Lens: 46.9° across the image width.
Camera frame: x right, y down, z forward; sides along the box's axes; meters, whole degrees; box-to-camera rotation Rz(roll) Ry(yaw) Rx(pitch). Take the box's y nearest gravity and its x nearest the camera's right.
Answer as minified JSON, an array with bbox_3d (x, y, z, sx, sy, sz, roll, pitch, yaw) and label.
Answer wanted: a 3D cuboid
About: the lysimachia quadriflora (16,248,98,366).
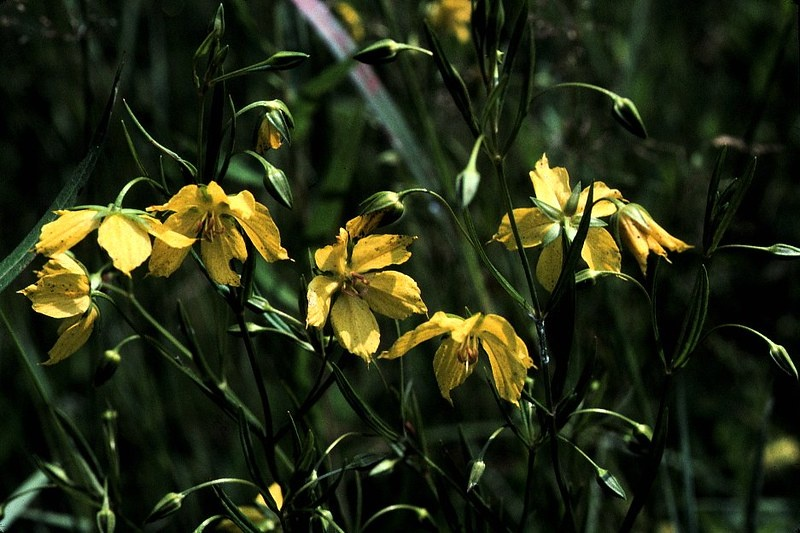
[{"bbox_3d":[-1.236,0.148,3.386,0.121,0.369,0.351,-14,-25,-40],"label":"lysimachia quadriflora"}]

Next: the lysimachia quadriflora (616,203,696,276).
[{"bbox_3d":[0.885,-0.121,3.272,0.225,0.273,0.119,-37,-10,3],"label":"lysimachia quadriflora"}]

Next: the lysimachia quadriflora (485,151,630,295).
[{"bbox_3d":[0.593,-0.154,3.425,0.558,0.233,0.543,-13,-18,-13],"label":"lysimachia quadriflora"}]

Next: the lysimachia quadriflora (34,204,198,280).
[{"bbox_3d":[-1.032,-0.115,3.278,0.312,0.111,0.362,16,31,4],"label":"lysimachia quadriflora"}]

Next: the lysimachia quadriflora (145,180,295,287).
[{"bbox_3d":[-0.615,-0.163,3.327,0.395,0.305,0.426,4,8,2],"label":"lysimachia quadriflora"}]

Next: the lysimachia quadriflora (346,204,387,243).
[{"bbox_3d":[-0.132,-0.159,3.342,0.135,0.086,0.039,-42,13,-9],"label":"lysimachia quadriflora"}]

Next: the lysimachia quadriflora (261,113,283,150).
[{"bbox_3d":[-0.468,-0.488,3.348,0.078,0.131,0.046,-1,-17,9],"label":"lysimachia quadriflora"}]

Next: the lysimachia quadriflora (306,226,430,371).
[{"bbox_3d":[-0.142,0.087,3.371,0.389,0.515,0.220,-15,7,-13],"label":"lysimachia quadriflora"}]
